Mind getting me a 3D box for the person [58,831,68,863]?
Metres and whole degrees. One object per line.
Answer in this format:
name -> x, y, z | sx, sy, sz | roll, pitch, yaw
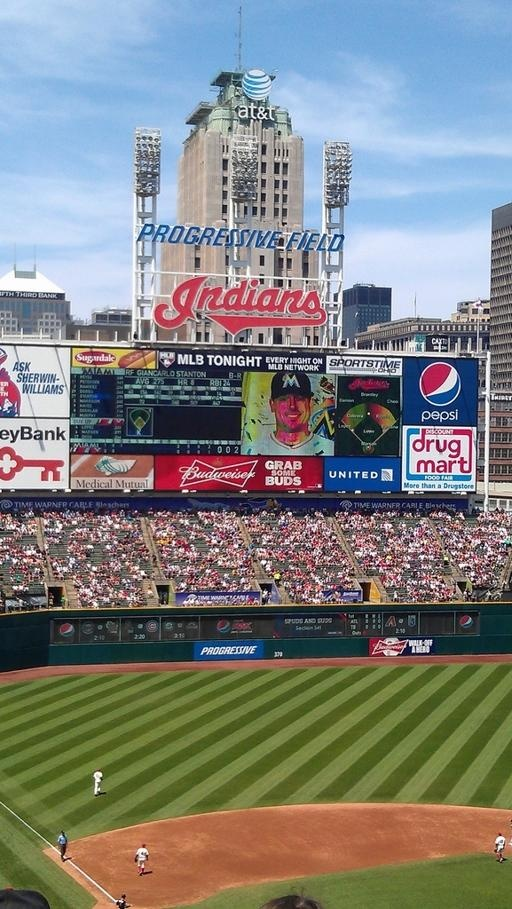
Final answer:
person -> -5.878, 11.839, 45.144 | 0.269, 0.905, 1.276 | 0, 11, -7
